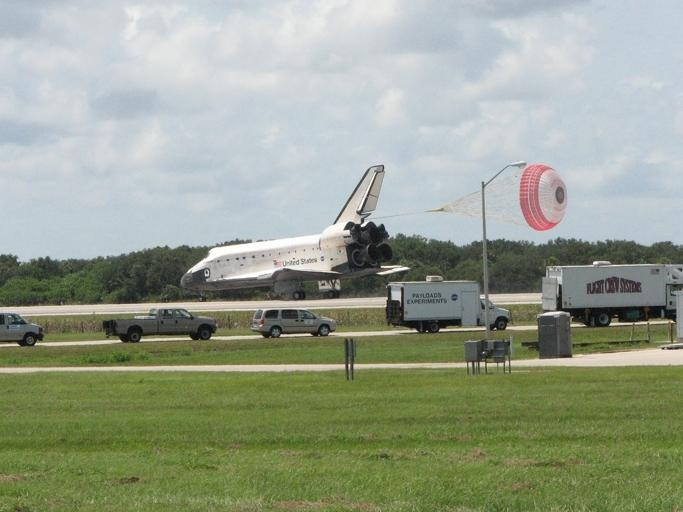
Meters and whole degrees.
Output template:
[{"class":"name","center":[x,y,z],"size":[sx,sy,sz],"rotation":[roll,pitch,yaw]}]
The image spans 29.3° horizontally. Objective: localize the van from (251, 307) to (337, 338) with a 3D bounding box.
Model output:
[{"class":"van","center":[-2.363,3.007,59.284],"size":[3.527,1.365,0.997],"rotation":[-4,10,-16]}]

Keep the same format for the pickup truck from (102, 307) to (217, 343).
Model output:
[{"class":"pickup truck","center":[-8.114,3.056,57.897],"size":[4.751,1.541,0.931],"rotation":[-5,10,-18]}]

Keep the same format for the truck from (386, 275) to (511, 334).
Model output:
[{"class":"truck","center":[5.066,2.262,62.720],"size":[5.557,2.569,2.513],"rotation":[-2,2,-13]}]

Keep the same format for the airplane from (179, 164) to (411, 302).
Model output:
[{"class":"airplane","center":[-3.331,-1.576,76.768],"size":[13.762,7.363,4.659],"rotation":[1,10,13]}]
